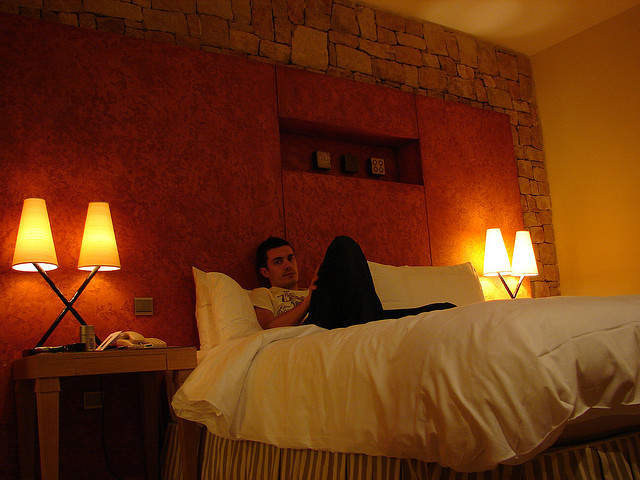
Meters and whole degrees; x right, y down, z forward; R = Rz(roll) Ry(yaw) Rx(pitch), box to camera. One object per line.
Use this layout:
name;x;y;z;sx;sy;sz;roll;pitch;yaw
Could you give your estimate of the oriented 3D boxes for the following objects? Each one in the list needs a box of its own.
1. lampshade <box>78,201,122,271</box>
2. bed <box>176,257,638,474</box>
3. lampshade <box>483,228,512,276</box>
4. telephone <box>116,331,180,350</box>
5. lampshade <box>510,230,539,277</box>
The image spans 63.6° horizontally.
lampshade;-1.290;-0.018;2.951;0.211;0.397;0.172;-10;8;-27
bed;0.258;0.587;1.894;1.567;0.720;0.525;-3;8;33
lampshade;1.479;0.106;4.315;0.232;0.395;0.165;-4;8;20
telephone;-0.910;0.523;2.646;0.189;0.061;0.141;1;-8;-13
lampshade;1.732;0.114;4.378;0.195;0.375;0.212;-4;8;21
